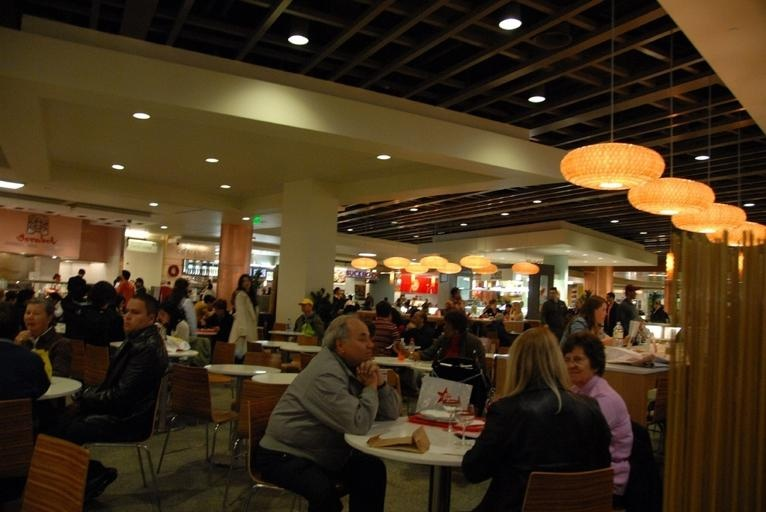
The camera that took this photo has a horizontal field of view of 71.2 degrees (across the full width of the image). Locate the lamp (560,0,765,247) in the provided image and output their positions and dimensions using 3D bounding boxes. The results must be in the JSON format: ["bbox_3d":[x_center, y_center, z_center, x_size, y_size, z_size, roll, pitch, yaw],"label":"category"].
[{"bbox_3d":[3.806,-1.848,7.167,0.808,1.933,2.364,-8,-23,40],"label":"lamp"}]
